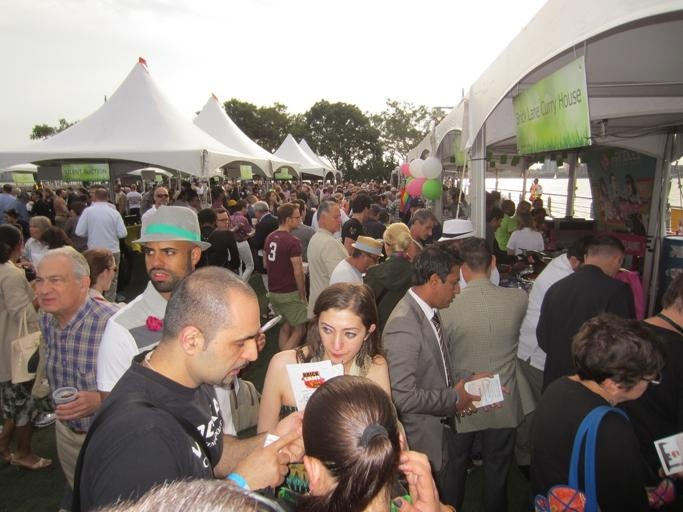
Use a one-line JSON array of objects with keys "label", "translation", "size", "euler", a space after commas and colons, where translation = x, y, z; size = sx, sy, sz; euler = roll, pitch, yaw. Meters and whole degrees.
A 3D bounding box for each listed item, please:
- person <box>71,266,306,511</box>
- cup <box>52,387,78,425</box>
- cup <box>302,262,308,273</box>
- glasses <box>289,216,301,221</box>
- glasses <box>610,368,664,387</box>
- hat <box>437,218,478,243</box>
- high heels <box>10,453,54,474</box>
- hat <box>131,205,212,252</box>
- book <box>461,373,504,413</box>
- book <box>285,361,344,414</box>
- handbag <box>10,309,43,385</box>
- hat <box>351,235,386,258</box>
[{"label": "person", "translation": [-0.707, 0.655, 2.092], "size": [1.028, 1.150, 0.551], "euler": [-7, 10, -37]}, {"label": "cup", "translation": [-1.780, 0.922, 2.829], "size": [0.154, 0.181, 0.162], "euler": [13, 15, -4]}, {"label": "cup", "translation": [-0.597, 0.180, 7.160], "size": [0.115, 0.238, 0.228], "euler": [1, 7, 1]}, {"label": "glasses", "translation": [-0.657, -0.545, 6.342], "size": [0.071, 0.079, 0.223], "euler": [1, 9, 14]}, {"label": "glasses", "translation": [1.724, 0.713, 2.613], "size": [0.174, 0.073, 0.218], "euler": [6, -10, -21]}, {"label": "hat", "translation": [1.430, -0.320, 5.526], "size": [0.334, 0.150, 0.310], "euler": [-13, 7, 16]}, {"label": "high heels", "translation": [-3.039, 1.997, 4.342], "size": [0.316, 0.149, 0.174], "euler": [-1, 3, -1]}, {"label": "hat", "translation": [-1.208, -0.213, 3.269], "size": [0.345, 0.214, 0.444], "euler": [-2, -8, 8]}, {"label": "book", "translation": [1.087, 1.034, 3.392], "size": [0.279, 0.234, 0.079], "euler": [-9, 0, -21]}, {"label": "book", "translation": [-0.160, 0.741, 2.552], "size": [0.319, 0.370, 0.115], "euler": [3, 6, -7]}, {"label": "handbag", "translation": [-2.696, 0.787, 3.788], "size": [0.207, 0.747, 0.585], "euler": [-3, 15, -31]}, {"label": "hat", "translation": [0.315, -0.100, 4.992], "size": [0.271, 0.098, 0.230], "euler": [24, 6, -39]}]
